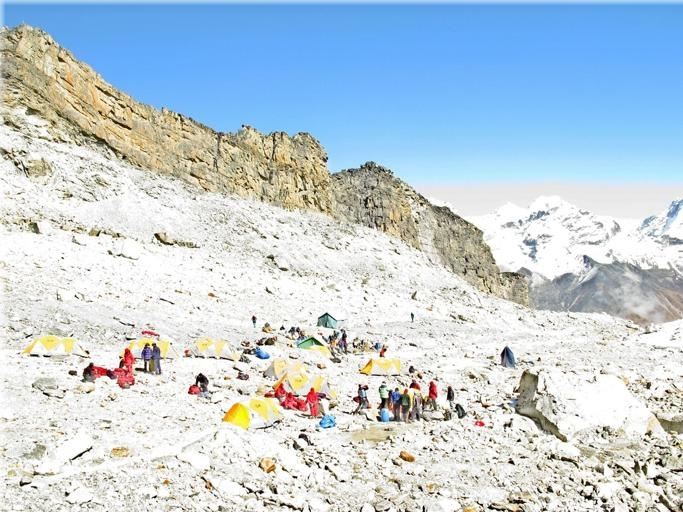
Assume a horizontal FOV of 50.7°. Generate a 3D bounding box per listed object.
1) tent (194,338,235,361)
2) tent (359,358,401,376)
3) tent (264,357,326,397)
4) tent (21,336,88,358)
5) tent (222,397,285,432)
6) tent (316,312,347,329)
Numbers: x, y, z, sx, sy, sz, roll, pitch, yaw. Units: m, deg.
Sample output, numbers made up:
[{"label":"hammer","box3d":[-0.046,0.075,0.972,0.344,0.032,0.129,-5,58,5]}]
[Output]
[{"label":"tent","box3d":[-7.096,5.161,40.149,1.554,0.600,1.240,7,-7,-1]},{"label":"tent","box3d":[2.495,6.593,43.068,1.536,0.638,1.198,1,-6,-17]},{"label":"tent","box3d":[-2.389,6.287,37.591,3.453,1.032,2.022,15,16,38]},{"label":"tent","box3d":[-14.425,4.530,36.310,1.846,0.710,1.419,5,-12,-12]},{"label":"tent","box3d":[-3.943,7.150,32.720,2.774,1.075,1.208,-4,15,-36]},{"label":"tent","box3d":[-0.792,4.879,54.289,2.127,0.987,1.646,4,12,-6]}]
